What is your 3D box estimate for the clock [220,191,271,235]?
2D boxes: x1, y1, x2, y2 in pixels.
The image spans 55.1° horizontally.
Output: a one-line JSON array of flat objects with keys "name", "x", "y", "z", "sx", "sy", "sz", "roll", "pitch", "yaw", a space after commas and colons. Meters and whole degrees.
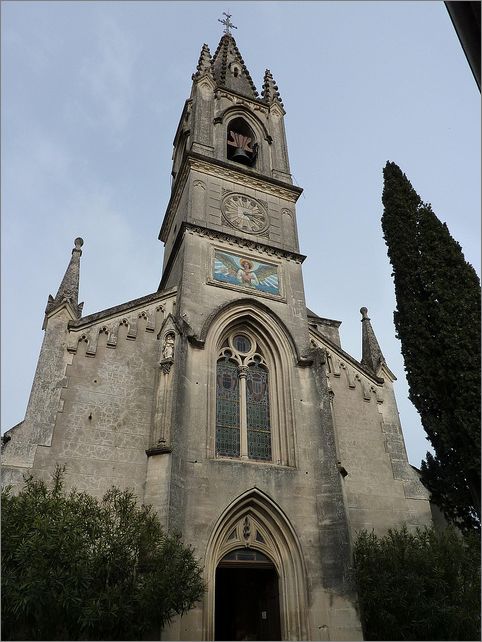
[{"name": "clock", "x": 0.151, "y": -4.380, "z": 18.540, "sx": 1.963, "sy": 2.489, "sz": 0.173, "roll": 1, "pitch": -34, "yaw": -6}]
